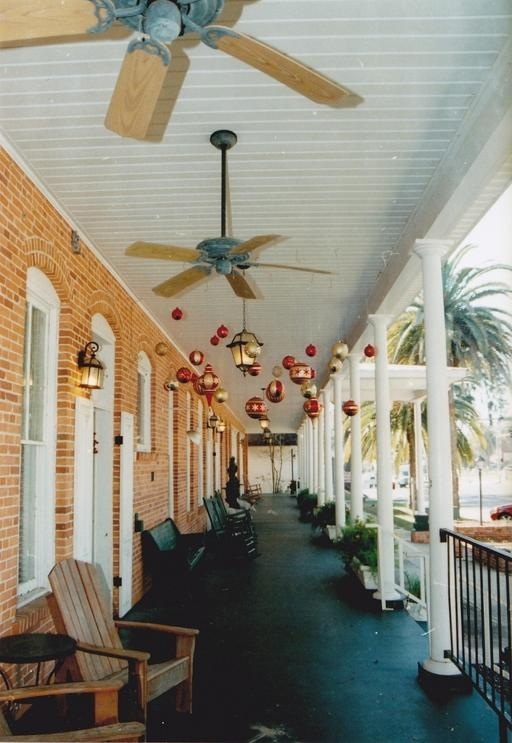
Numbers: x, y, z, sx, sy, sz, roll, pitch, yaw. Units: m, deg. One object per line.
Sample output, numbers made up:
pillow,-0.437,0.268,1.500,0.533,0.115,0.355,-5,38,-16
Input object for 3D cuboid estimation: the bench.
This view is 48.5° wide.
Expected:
bench,-1.045,2.550,8.308,0.620,0.777,1.639,-19,-6,-1

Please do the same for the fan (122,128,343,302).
fan,-0.309,-1.104,4.078,0.986,0.903,1.503,-2,-7,2
